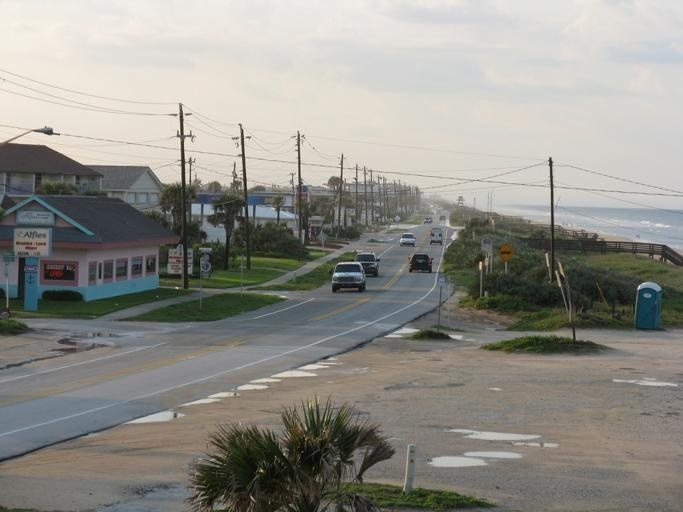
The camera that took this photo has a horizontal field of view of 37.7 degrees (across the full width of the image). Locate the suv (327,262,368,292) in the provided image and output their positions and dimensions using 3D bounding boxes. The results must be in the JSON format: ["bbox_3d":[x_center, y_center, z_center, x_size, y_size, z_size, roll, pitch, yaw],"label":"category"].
[{"bbox_3d":[0.428,1.354,60.633,1.953,1.579,2.004,0,8,2],"label":"suv"}]

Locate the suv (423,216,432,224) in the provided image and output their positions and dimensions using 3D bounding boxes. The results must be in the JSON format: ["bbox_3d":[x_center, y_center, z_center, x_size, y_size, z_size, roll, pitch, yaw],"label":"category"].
[{"bbox_3d":[14.972,-6.679,171.878,1.595,1.114,3.375,-1,-1,4],"label":"suv"}]

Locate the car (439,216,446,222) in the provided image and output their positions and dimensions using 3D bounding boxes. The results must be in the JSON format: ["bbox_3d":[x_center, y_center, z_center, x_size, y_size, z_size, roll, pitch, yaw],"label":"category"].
[{"bbox_3d":[18.025,-6.884,178.586,1.229,0.900,1.961,0,5,2],"label":"car"}]

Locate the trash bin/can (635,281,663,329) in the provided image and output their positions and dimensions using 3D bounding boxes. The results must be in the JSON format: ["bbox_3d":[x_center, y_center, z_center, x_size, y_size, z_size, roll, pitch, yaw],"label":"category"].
[{"bbox_3d":[14.401,2.278,47.040,1.189,2.272,2.001,2,8,18],"label":"trash bin/can"}]

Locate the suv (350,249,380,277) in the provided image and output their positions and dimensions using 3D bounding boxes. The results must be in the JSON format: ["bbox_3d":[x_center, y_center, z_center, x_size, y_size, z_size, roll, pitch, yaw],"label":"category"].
[{"bbox_3d":[1.679,0.449,71.421,2.226,1.578,3.812,0,-2,0],"label":"suv"}]

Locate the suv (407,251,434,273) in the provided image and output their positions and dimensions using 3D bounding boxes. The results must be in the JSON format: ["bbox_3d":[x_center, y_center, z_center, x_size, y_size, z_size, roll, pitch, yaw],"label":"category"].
[{"bbox_3d":[6.030,0.436,76.652,1.546,1.106,2.492,1,7,7],"label":"suv"}]
